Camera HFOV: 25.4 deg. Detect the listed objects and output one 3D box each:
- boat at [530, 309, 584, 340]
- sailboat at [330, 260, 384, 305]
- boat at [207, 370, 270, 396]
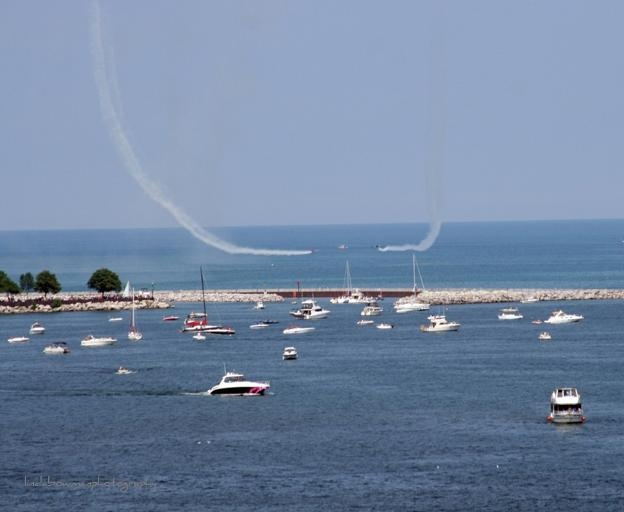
[{"bbox_3d":[24.515,6.968,138.237,6.123,2.138,1.428,-5,3,34],"label":"boat"},{"bbox_3d":[5.162,3.599,175.588,5.301,5.375,1.868,5,-12,-40],"label":"sailboat"},{"bbox_3d":[-5.603,9.612,103.351,4.822,2.050,1.762,2,-1,11],"label":"boat"}]
